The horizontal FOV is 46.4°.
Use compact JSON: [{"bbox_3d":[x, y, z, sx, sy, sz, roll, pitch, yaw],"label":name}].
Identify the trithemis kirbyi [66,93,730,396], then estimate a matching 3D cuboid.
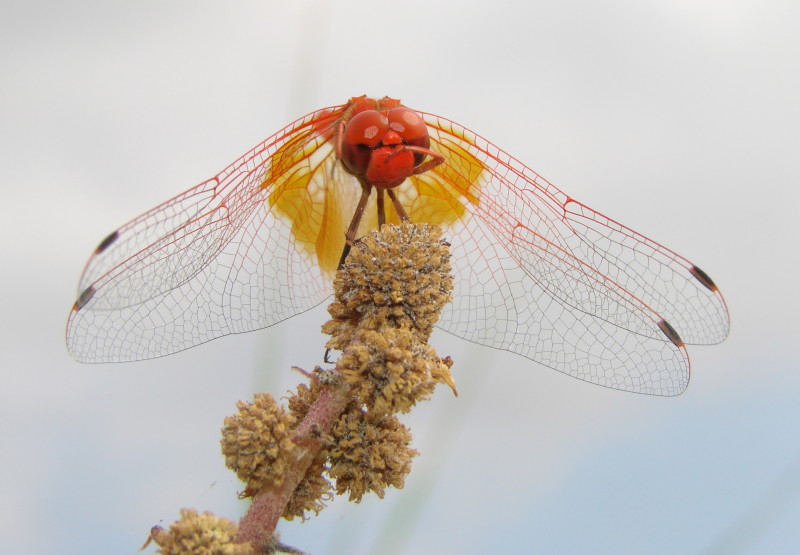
[{"bbox_3d":[-0.006,-0.118,2.995,2.057,0.618,0.691,2,-44,0],"label":"trithemis kirbyi"}]
